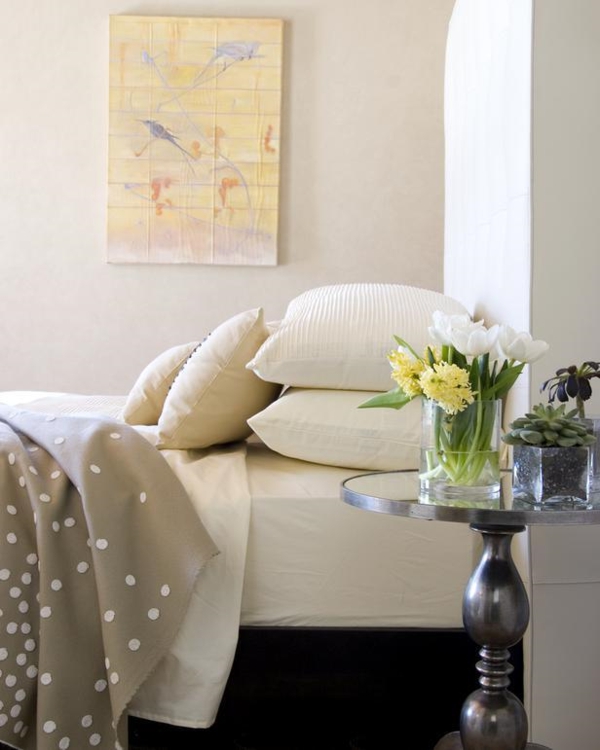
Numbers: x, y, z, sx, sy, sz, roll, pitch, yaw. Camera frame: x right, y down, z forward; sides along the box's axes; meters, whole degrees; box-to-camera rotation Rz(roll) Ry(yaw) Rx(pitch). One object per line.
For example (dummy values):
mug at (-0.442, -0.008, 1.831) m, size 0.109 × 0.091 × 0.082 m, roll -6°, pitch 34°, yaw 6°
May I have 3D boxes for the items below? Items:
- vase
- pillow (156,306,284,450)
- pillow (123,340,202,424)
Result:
vase at (0.261, 0.114, 1.275) m, size 0.145 × 0.146 × 0.140 m, roll 3°, pitch -3°, yaw 6°
pillow at (-0.172, -0.011, 1.912) m, size 0.244 × 0.272 × 0.392 m, roll 4°, pitch 2°, yaw 7°
pillow at (-0.436, 0.041, 2.156) m, size 0.128 × 0.236 × 0.229 m, roll 30°, pitch 38°, yaw 14°
